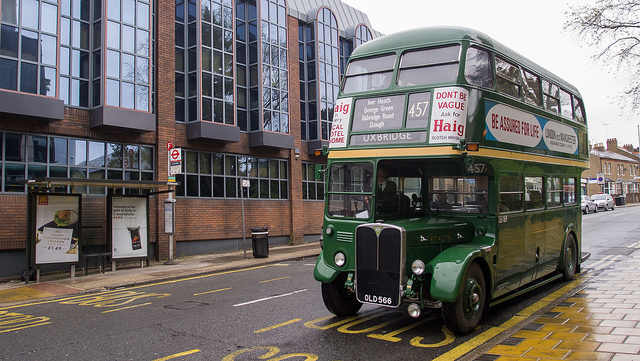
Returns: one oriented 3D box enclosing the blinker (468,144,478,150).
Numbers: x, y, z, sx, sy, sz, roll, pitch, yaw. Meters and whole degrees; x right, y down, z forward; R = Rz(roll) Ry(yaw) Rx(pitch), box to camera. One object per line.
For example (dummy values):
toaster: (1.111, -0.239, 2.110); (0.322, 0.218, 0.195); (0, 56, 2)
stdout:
blinker: (4.009, -0.909, 12.127); (0.168, 0.156, 0.045); (1, 5, -2)

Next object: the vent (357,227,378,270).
vent: (1.217, 1.794, 12.250); (0.646, 1.136, 0.109); (7, -16, -25)

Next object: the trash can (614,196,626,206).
trash can: (41.626, 2.827, 63.881); (1.218, 1.079, 0.627); (-1, 4, -9)

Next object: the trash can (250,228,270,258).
trash can: (-3.040, 3.164, 23.334); (1.268, 1.621, 1.318); (0, -2, 2)

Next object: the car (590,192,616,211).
car: (31.836, 2.280, 52.376); (2.348, 2.130, 5.128); (-5, -7, 44)

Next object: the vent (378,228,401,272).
vent: (1.799, 1.808, 11.950); (0.568, 1.097, 0.173); (-1, 5, 15)

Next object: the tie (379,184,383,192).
tie: (1.694, 0.196, 12.785); (0.016, 0.197, 0.090); (1, 6, 38)
